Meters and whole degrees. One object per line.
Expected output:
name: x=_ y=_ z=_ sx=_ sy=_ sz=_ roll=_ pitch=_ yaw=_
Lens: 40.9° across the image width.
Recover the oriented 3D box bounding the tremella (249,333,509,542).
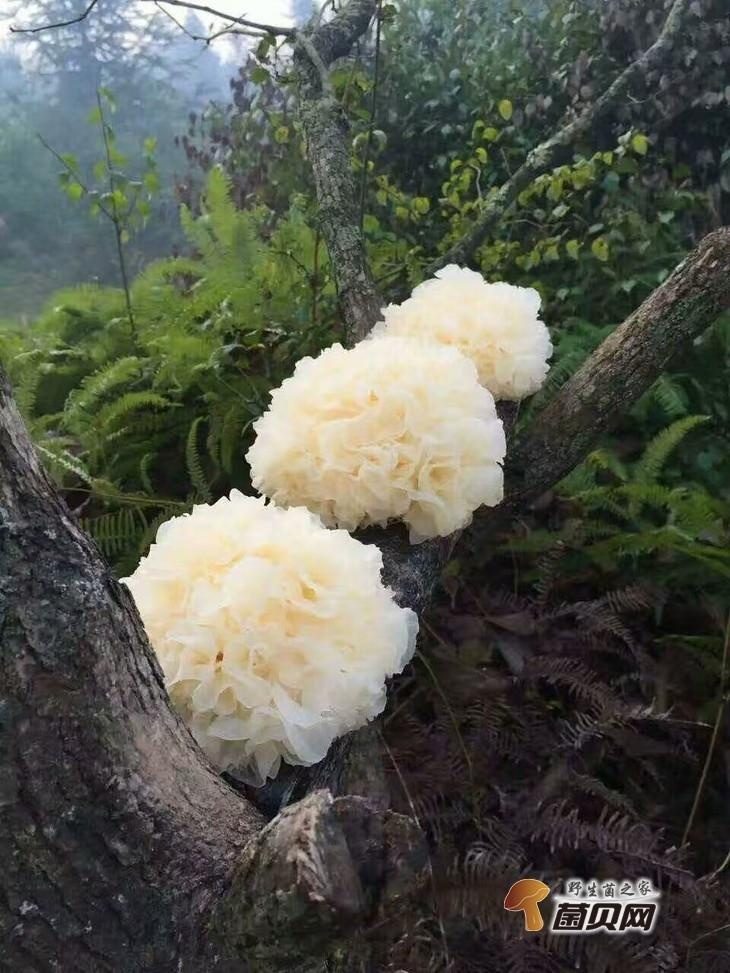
tremella: x=-0.002 y=-0.117 z=1.601 sx=0.479 sy=0.276 sz=0.451 roll=-5 pitch=17 yaw=-9

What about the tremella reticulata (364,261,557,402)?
tremella reticulata: x=0.181 y=-0.264 z=1.721 sx=0.308 sy=0.116 sz=0.243 roll=-10 pitch=55 yaw=-21

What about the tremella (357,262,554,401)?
tremella: x=0.159 y=-0.262 z=1.716 sx=0.307 sy=0.107 sz=0.241 roll=-13 pitch=65 yaw=-16

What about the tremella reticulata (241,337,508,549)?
tremella reticulata: x=-0.033 y=-0.078 z=1.467 sx=0.396 sy=0.175 sz=0.291 roll=1 pitch=71 yaw=-10

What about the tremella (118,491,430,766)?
tremella: x=-0.125 y=0.190 z=1.315 sx=0.335 sy=0.240 sz=0.405 roll=-28 pitch=48 yaw=-20
